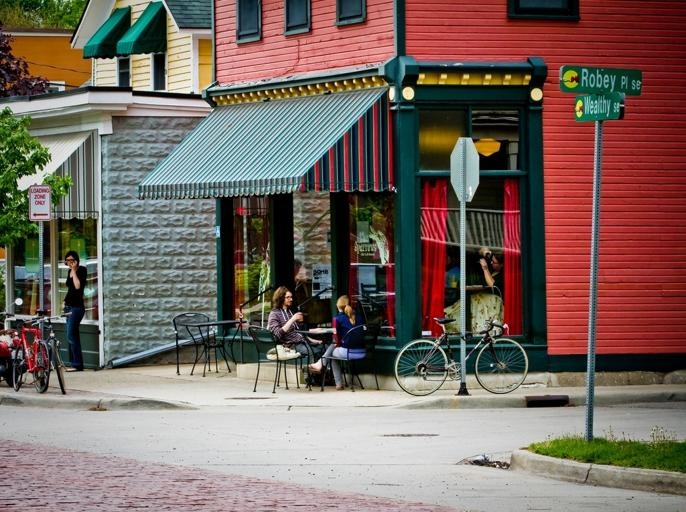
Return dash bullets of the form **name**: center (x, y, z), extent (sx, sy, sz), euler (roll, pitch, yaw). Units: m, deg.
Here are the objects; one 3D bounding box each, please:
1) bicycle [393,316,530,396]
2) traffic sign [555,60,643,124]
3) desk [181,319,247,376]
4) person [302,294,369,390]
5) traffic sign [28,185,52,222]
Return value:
- **bicycle**: center (2.084, 1.763, 26.222), extent (2.537, 1.220, 0.608), euler (1, -4, -18)
- **traffic sign**: center (3.594, -2.265, 21.163), extent (1.329, 0.786, 0.640), euler (0, 5, -20)
- **desk**: center (-2.556, 1.825, 30.207), extent (1.240, 0.828, 0.736), euler (-9, -7, 36)
- **person**: center (-0.061, 1.541, 26.797), extent (0.631, 1.650, 1.033), euler (3, -4, -37)
- **traffic sign**: center (-5.503, -0.970, 27.464), extent (0.377, 0.617, 0.479), euler (1, -3, -13)
